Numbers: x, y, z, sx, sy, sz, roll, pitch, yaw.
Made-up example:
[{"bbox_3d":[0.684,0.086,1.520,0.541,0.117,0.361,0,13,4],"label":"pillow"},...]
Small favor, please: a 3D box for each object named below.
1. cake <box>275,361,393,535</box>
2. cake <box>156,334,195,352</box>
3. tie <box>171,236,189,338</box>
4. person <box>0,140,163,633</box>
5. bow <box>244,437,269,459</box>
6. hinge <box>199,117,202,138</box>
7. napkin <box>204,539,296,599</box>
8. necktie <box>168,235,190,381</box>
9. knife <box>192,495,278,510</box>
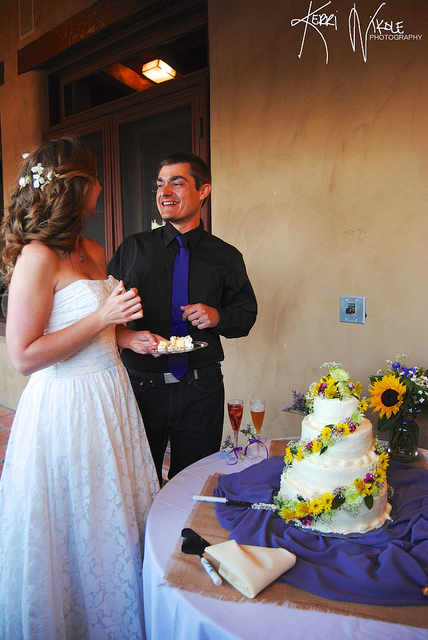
[{"bbox_3d":[0.287,0.286,1.154,0.252,0.310,0.271,-13,-2,-11],"label":"cake"},{"bbox_3d":[-0.129,0.080,1.708,0.084,0.028,0.060,-3,6,12],"label":"cake"},{"bbox_3d":[-0.143,-0.147,2.063,0.078,0.394,0.216,-2,9,-3],"label":"tie"},{"bbox_3d":[-0.427,0.192,1.551,0.470,1.477,0.511,-2,9,-7],"label":"person"},{"bbox_3d":[0.137,0.413,1.614,0.063,0.054,0.007,2,-26,0],"label":"bow"},{"bbox_3d":[-0.082,-1.125,2.924,0.016,0.113,0.008,3,10,24],"label":"hinge"},{"bbox_3d":[0.071,0.460,0.995,0.036,0.111,0.128,-40,7,-21],"label":"napkin"},{"bbox_3d":[-0.144,-0.098,2.080,0.070,0.629,0.044,-3,39,-14],"label":"necktie"},{"bbox_3d":[0.057,0.442,1.212,0.166,0.014,0.023,5,-9,1],"label":"knife"}]
